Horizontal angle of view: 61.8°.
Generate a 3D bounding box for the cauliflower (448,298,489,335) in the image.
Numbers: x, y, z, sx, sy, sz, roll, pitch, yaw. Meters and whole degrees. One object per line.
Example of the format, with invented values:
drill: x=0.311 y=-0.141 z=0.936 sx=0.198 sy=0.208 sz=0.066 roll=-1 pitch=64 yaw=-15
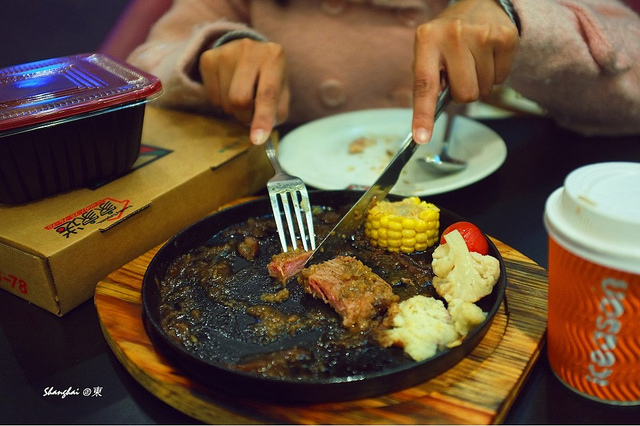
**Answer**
cauliflower: x=0.600 y=0.428 z=2.182 sx=0.133 sy=0.044 sz=0.133 roll=-45 pitch=51 yaw=11
